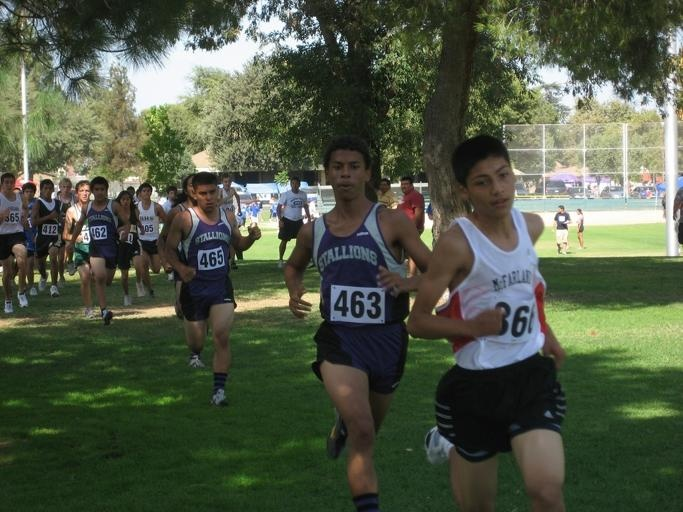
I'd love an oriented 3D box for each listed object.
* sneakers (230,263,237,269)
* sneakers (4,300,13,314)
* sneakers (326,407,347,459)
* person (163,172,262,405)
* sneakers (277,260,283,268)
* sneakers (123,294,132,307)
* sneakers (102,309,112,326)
[{"bbox_3d":[-3.210,0.289,19.990,0.143,0.254,0.239,-1,-12,1],"label":"sneakers"},{"bbox_3d":[-6.489,0.976,12.971,0.144,0.202,0.443,-1,0,-19],"label":"sneakers"},{"bbox_3d":[-0.101,1.372,5.142,0.162,0.247,0.553,17,-27,4],"label":"sneakers"},{"bbox_3d":[-1.450,0.310,7.424,0.790,2.483,0.737,1,3,36],"label":"person"},{"bbox_3d":[-1.847,0.216,20.221,0.179,0.337,0.242,-2,43,-3],"label":"sneakers"},{"bbox_3d":[-4.391,0.911,13.731,0.126,0.261,0.253,2,-11,-12],"label":"sneakers"},{"bbox_3d":[-3.979,1.023,11.363,0.137,0.386,0.179,2,31,-20],"label":"sneakers"}]
